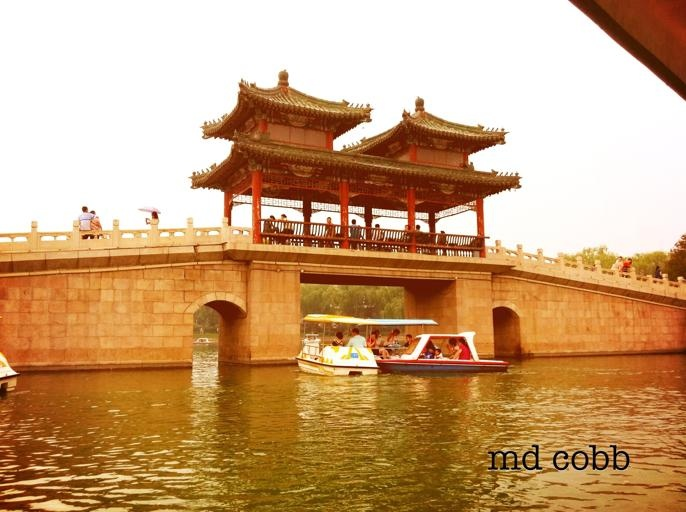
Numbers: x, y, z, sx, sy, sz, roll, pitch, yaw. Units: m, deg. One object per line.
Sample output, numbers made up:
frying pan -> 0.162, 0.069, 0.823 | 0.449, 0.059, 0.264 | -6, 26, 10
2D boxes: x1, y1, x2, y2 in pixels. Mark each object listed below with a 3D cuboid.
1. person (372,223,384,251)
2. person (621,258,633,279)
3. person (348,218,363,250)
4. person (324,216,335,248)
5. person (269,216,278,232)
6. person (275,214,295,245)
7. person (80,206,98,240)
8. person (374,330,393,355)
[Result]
person -> 1.485, -0.727, 32.947 | 0.410, 1.047, 0.487 | -3, -7, 23
person -> 14.639, 0.617, 40.566 | 0.532, 1.091, 1.715 | -2, -6, 18
person -> 0.530, -0.798, 32.600 | 0.321, 1.003, 0.687 | -6, -8, 43
person -> -0.510, -0.873, 32.082 | 0.441, 1.027, 0.601 | 0, -6, -1
person -> -2.735, -1.233, 30.983 | 0.333, 0.688, 0.524 | -1, -6, 10
person -> -2.216, -0.932, 31.200 | 0.863, 1.039, 0.405 | 5, -8, -42
person -> -9.315, -1.193, 28.903 | 0.659, 1.357, 2.043 | 2, -6, -17
person -> 1.565, 3.256, 29.384 | 0.769, 0.969, 0.800 | 1, -7, -11
